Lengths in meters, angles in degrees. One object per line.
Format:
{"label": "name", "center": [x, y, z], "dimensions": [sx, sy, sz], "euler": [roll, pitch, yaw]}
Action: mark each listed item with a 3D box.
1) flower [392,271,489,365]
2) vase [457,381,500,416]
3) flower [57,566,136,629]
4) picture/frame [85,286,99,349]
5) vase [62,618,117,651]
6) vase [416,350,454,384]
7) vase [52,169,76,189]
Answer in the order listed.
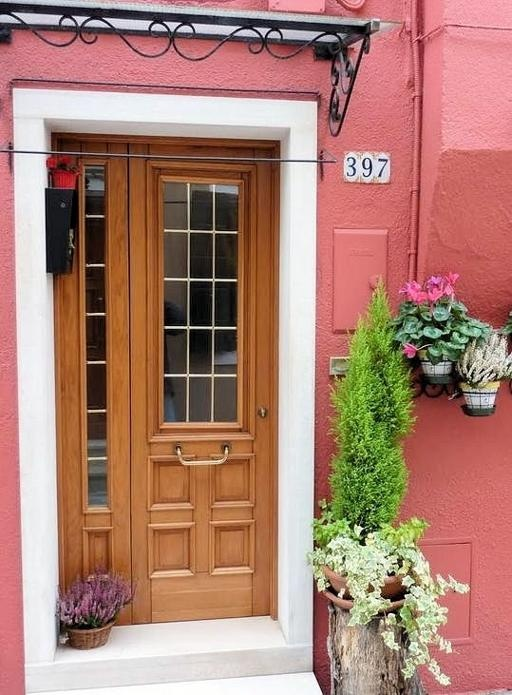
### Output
{"label": "flower", "center": [0.760, -0.124, 3.949], "dimensions": [0.382, 0.358, 0.289], "euler": [0, 4, 10]}
{"label": "vase", "center": [0.925, 0.211, 3.973], "dimensions": [0.137, 0.133, 0.149], "euler": [0, -6, 10]}
{"label": "flower", "center": [-0.701, 1.068, 4.146], "dimensions": [0.209, 0.166, 0.256], "euler": [11, 19, 38]}
{"label": "picture/frame", "center": [-0.727, -0.136, 4.296], "dimensions": [0.059, 0.259, 0.010], "euler": [-1, 4, -13]}
{"label": "vase", "center": [-0.718, 1.228, 4.168], "dimensions": [0.202, 0.109, 0.173], "euler": [-1, 4, -16]}
{"label": "vase", "center": [0.733, 0.067, 3.934], "dimensions": [0.124, 0.105, 0.130], "euler": [3, 1, 20]}
{"label": "vase", "center": [-0.797, -0.706, 4.009], "dimensions": [0.081, 0.057, 0.084], "euler": [9, 15, 28]}
